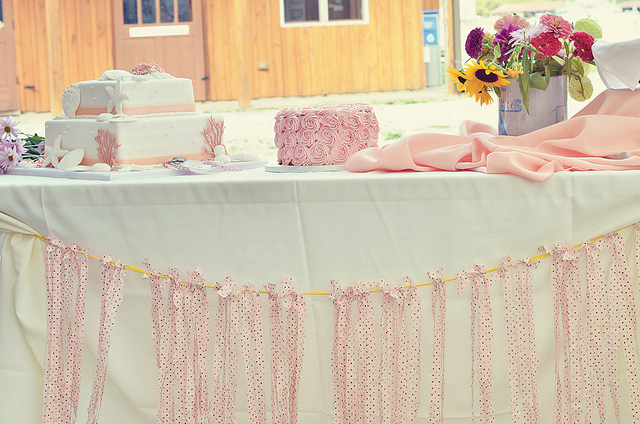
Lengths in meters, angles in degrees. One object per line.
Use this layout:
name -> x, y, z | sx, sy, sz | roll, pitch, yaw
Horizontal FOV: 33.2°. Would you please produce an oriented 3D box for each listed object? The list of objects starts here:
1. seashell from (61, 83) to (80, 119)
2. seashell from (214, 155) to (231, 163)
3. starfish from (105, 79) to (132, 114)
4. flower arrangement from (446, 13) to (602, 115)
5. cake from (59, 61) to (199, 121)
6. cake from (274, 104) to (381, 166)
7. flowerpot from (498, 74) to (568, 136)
seashell -> -1.168, -0.494, 4.754 | 0.090, 0.144, 0.037 | 19, 16, 41
seashell -> -0.456, -0.235, 4.741 | 0.061, 0.029, 0.098 | -15, 19, -32
starfish -> -0.926, -0.500, 4.672 | 0.129, 0.118, 0.009 | -11, -5, 38
flower arrangement -> 0.907, -0.676, 4.586 | 0.573, 0.327, 0.433 | -13, 38, -1
cake -> -0.991, -0.563, 4.929 | 0.667, 0.267, 0.688 | 4, 9, 35
cake -> -0.003, -0.330, 4.575 | 0.303, 0.165, 0.307 | -3, 1, -11
flowerpot -> 0.951, -0.469, 4.596 | 0.257, 0.299, 0.272 | 1, 8, 13
